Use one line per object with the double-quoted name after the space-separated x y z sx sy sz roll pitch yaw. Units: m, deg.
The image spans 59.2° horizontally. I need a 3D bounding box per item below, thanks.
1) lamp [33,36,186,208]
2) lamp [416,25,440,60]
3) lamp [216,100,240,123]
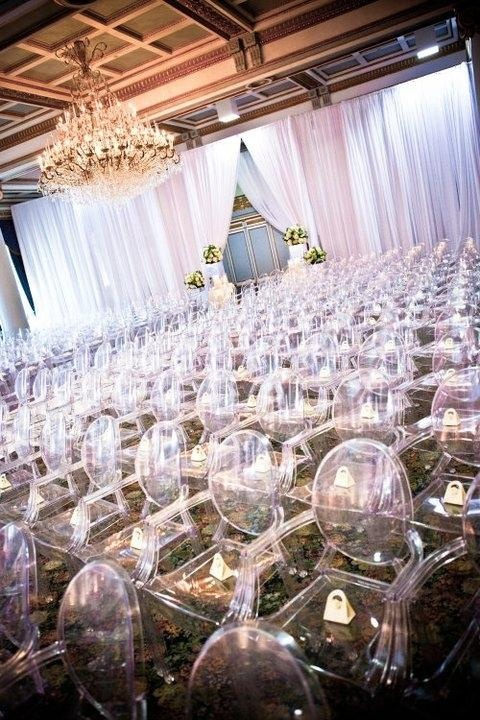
-1.994 -3.387 5.924 1.633 1.949 1.675 15 40 44 "lamp"
3.203 -5.461 7.265 0.288 0.298 0.364 -8 8 34 "lamp"
-0.277 -4.683 7.974 0.367 0.273 0.285 -11 7 18 "lamp"
